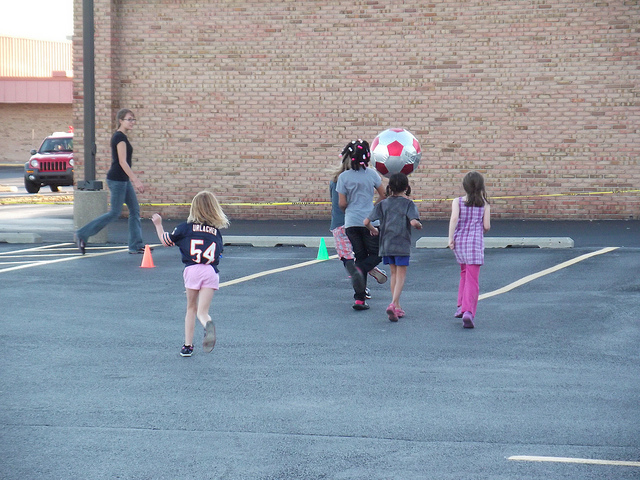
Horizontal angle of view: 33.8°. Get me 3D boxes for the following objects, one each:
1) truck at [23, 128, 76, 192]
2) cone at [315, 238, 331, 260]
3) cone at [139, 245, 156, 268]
[{"bbox_3d":[-8.907,-2.530,34.695,1.573,1.764,1.542,-4,12,-16],"label":"truck"},{"bbox_3d":[0.048,0.157,17.903,0.326,0.389,0.316,0,-3,3],"label":"cone"},{"bbox_3d":[-2.743,0.234,16.684,0.237,0.366,0.353,-3,11,-10],"label":"cone"}]
